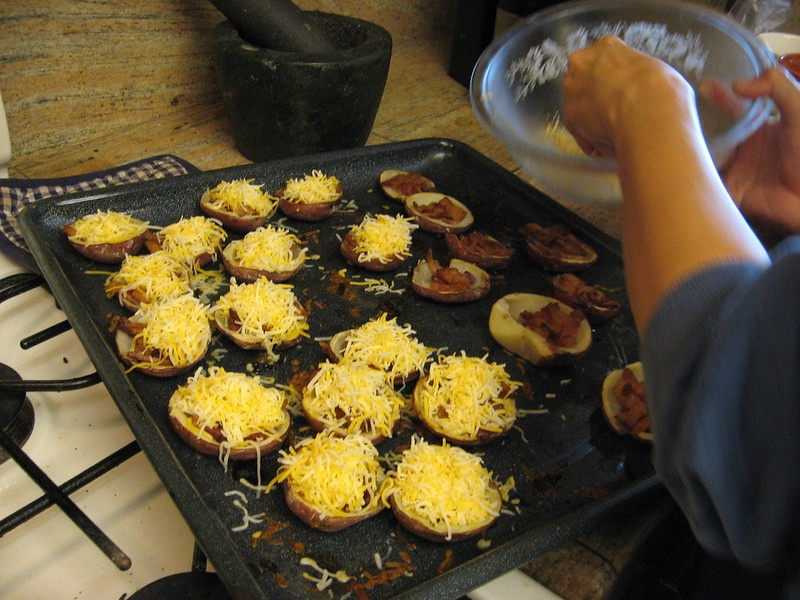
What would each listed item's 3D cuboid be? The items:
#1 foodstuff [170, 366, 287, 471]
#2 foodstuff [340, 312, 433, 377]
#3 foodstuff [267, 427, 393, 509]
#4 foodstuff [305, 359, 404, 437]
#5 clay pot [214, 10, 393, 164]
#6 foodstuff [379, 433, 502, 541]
[{"bbox_3d":[-0.270,0.177,1.153,0.155,0.065,0.140,9,60,-11],"label":"foodstuff"},{"bbox_3d":[-0.031,0.060,1.378,0.153,0.169,0.073,14,80,-32],"label":"foodstuff"},{"bbox_3d":[-0.105,0.285,1.121,0.171,0.092,0.173,3,26,1],"label":"foodstuff"},{"bbox_3d":[-0.081,0.172,1.249,0.190,0.078,0.149,8,23,16],"label":"foodstuff"},{"bbox_3d":[-0.233,-0.466,1.866,0.409,0.269,0.414,4,42,-4],"label":"clay pot"},{"bbox_3d":[0.065,0.291,1.093,0.137,0.061,0.141,-17,38,-30],"label":"foodstuff"}]
